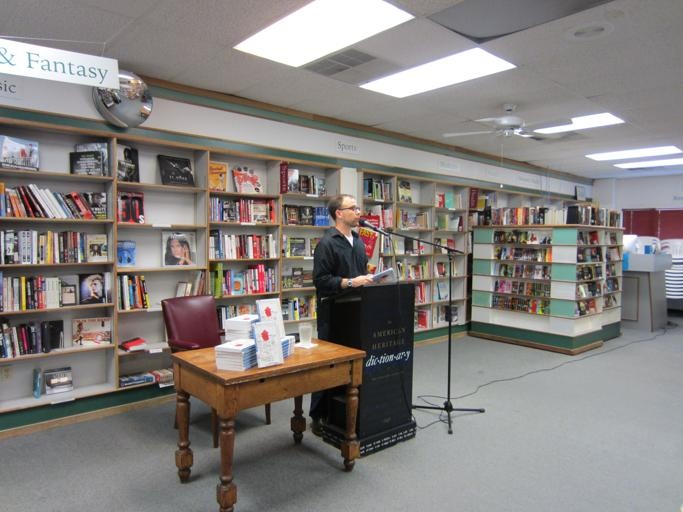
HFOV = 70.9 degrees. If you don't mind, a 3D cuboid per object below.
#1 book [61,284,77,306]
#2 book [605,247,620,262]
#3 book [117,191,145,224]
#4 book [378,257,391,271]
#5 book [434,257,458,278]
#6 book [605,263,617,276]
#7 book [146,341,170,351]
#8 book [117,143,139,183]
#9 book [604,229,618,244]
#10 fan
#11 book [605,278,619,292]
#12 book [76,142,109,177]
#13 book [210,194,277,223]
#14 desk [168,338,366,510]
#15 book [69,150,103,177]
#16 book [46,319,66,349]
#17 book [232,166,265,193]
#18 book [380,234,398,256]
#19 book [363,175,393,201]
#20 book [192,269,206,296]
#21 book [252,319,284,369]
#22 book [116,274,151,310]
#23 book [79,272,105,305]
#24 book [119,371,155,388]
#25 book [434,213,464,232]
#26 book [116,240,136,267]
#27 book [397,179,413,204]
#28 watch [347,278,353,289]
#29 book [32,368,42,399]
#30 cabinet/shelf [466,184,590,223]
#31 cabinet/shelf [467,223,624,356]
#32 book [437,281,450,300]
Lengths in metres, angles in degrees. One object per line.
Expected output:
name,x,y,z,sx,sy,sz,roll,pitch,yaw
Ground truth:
book,-2.726,0.394,4.786,0.110,0.200,0.135,-2,10,-13
book,4.624,-0.024,8.210,0.259,0.209,0.084,3,-6,-36
book,-2.233,-0.512,5.082,0.231,0.327,0.266,-2,10,-17
book,0.608,0.114,7.076,0.189,0.248,0.261,0,0,35
book,1.652,0.205,7.686,0.335,0.270,0.114,7,-14,-34
book,4.617,0.240,8.245,0.241,0.202,0.077,3,-3,-44
book,-1.978,0.995,5.158,0.231,0.051,0.205,3,6,27
book,-2.258,-0.990,5.077,0.215,0.393,0.315,-3,10,-23
book,4.572,-0.329,8.166,0.224,0.205,0.116,19,-17,-40
fan,2.364,-1.787,6.456,1.072,0.198,0.944,-1,-14,-17
book,4.578,0.508,8.143,0.262,0.220,0.087,3,-4,-42
book,-2.526,-0.971,4.837,0.375,0.398,0.060,3,-7,-29
book,-1.165,-0.535,5.712,0.238,0.316,0.839,10,13,44
desk,-0.663,0.952,3.938,1.777,1.247,1.132,-2,4,-43
book,-2.574,-0.926,4.812,0.300,0.251,0.156,1,-4,-29
book,-2.833,0.781,4.746,0.123,0.292,0.227,-3,10,-22
book,-1.167,-0.927,5.866,0.349,0.324,0.086,-10,1,-43
book,0.628,-0.147,6.579,0.110,0.263,0.300,-11,-17,41
book,0.518,-0.990,7.056,0.193,0.375,0.445,-3,-5,45
book,-1.590,0.304,5.376,0.086,0.240,0.195,8,-7,-24
book,-0.548,0.662,3.542,0.073,0.285,0.300,-10,-10,41
book,-2.228,0.331,5.174,0.334,0.428,0.461,-4,3,-30
book,-2.552,0.349,4.885,0.319,0.411,0.047,1,-13,-40
book,-2.184,1.335,5.142,0.349,0.094,0.276,-3,9,-20
book,1.841,-0.582,8.186,0.414,0.296,0.567,-1,-2,38
book,-2.300,-0.029,5.138,0.245,0.282,0.145,-7,12,-39
book,0.965,-0.998,7.436,0.070,0.368,0.425,-13,-9,34
watch,0.061,0.238,4.220,0.050,0.069,0.064,0,1,-7
book,-3.000,1.272,4.732,0.052,0.211,0.219,2,6,-27
cabinet/shelf,3.076,-0.704,8.051,1.229,0.447,1.216,-1,1,-41
cabinet/shelf,3.325,0.514,8.520,2.000,2.274,2.679,0,-2,-40
book,1.670,0.587,7.935,0.051,0.347,0.328,-10,-18,36
